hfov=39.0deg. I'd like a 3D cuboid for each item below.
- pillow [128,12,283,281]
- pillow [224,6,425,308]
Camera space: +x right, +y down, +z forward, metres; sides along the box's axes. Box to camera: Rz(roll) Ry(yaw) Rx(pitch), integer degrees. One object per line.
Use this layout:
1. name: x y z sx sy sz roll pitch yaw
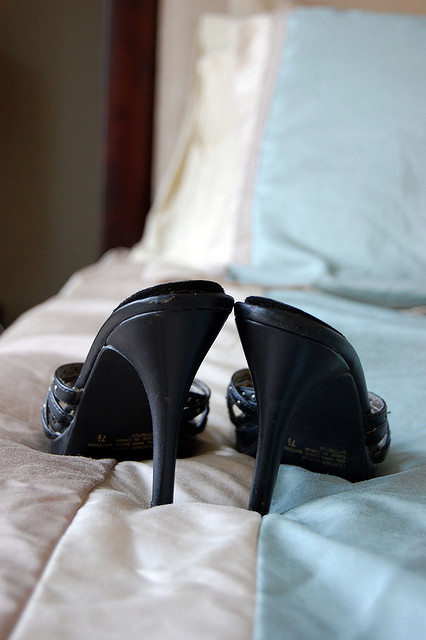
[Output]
1. pillow: -0.001 -0.248 0.969 0.176 0.197 0.530 2 -8 -3
2. pillow: 0.172 -0.208 0.750 0.270 0.358 0.115 16 17 37
